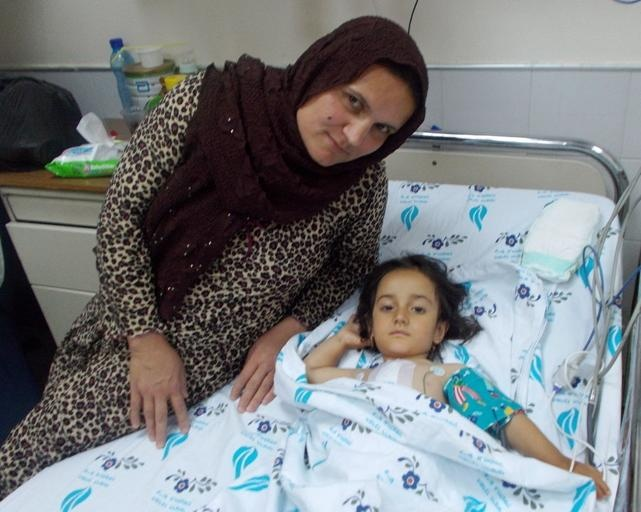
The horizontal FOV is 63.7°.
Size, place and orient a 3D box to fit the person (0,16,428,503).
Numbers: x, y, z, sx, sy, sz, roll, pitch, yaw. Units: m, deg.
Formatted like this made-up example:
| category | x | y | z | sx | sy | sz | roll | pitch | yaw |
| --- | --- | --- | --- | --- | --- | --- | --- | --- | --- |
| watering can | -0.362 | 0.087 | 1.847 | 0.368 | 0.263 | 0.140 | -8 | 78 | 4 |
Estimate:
| category | x | y | z | sx | sy | sz | roll | pitch | yaw |
| --- | --- | --- | --- | --- | --- | --- | --- | --- | --- |
| person | -0.293 | -0.027 | 1.354 | 1.065 | 1.088 | 0.449 | -8 | 24 | -17 |

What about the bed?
| category | x | y | z | sx | sy | sz | roll | pitch | yaw |
| --- | --- | --- | --- | --- | --- | --- | --- | --- | --- |
| bed | 0.005 | 0.316 | 1.905 | 1.480 | 1.185 | 0.999 | 6 | 27 | 15 |
